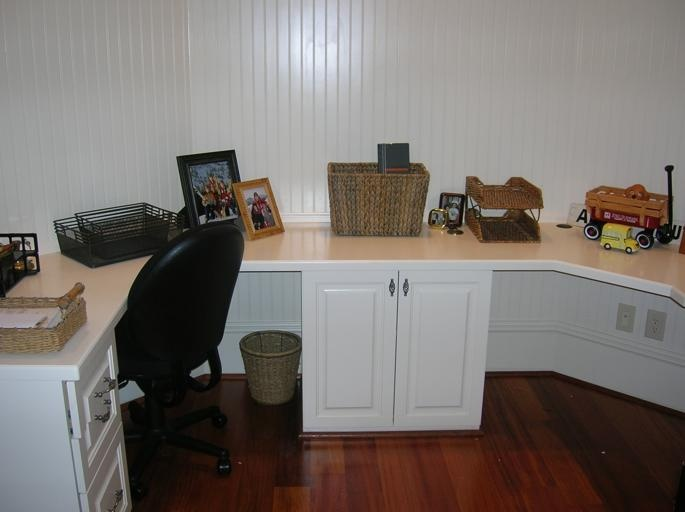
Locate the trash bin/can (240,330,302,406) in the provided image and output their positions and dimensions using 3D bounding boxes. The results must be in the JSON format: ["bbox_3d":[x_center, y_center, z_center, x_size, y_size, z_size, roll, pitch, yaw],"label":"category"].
[{"bbox_3d":[-0.392,0.590,2.819,0.324,0.339,0.383,1,10,1],"label":"trash bin/can"}]

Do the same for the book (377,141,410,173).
[{"bbox_3d":[0.269,-0.509,2.569,0.139,0.173,0.048,-2,5,-5],"label":"book"}]

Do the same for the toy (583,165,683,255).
[{"bbox_3d":[1.456,-0.275,2.568,0.490,0.463,0.323,11,19,37],"label":"toy"}]

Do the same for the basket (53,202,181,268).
[{"bbox_3d":[-1.039,-0.055,2.249,0.486,0.211,0.437,-13,26,-5],"label":"basket"}]

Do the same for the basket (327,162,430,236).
[{"bbox_3d":[0.188,-0.282,2.539,0.458,0.343,0.341,1,18,0],"label":"basket"}]

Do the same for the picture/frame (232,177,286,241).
[{"bbox_3d":[-0.448,-0.243,2.577,0.259,0.368,0.033,-18,2,-44],"label":"picture/frame"}]

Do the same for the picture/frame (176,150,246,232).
[{"bbox_3d":[-0.665,-0.324,2.478,0.039,0.443,0.343,-2,11,46],"label":"picture/frame"}]
